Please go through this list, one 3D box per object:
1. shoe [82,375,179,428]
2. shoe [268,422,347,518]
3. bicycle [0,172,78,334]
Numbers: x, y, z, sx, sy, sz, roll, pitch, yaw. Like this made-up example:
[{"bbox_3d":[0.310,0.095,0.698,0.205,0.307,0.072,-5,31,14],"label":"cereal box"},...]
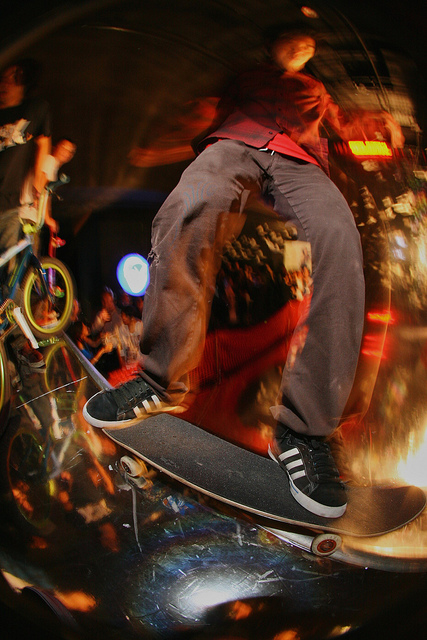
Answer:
[{"bbox_3d":[-0.220,0.215,1.350,0.271,0.091,0.084,0,41,-44],"label":"shoe"},{"bbox_3d":[0.222,0.362,1.202,0.086,0.090,0.237,5,14,-22],"label":"shoe"},{"bbox_3d":[-0.462,-0.165,1.279,0.191,0.395,0.258,1,7,-30],"label":"bicycle"}]
